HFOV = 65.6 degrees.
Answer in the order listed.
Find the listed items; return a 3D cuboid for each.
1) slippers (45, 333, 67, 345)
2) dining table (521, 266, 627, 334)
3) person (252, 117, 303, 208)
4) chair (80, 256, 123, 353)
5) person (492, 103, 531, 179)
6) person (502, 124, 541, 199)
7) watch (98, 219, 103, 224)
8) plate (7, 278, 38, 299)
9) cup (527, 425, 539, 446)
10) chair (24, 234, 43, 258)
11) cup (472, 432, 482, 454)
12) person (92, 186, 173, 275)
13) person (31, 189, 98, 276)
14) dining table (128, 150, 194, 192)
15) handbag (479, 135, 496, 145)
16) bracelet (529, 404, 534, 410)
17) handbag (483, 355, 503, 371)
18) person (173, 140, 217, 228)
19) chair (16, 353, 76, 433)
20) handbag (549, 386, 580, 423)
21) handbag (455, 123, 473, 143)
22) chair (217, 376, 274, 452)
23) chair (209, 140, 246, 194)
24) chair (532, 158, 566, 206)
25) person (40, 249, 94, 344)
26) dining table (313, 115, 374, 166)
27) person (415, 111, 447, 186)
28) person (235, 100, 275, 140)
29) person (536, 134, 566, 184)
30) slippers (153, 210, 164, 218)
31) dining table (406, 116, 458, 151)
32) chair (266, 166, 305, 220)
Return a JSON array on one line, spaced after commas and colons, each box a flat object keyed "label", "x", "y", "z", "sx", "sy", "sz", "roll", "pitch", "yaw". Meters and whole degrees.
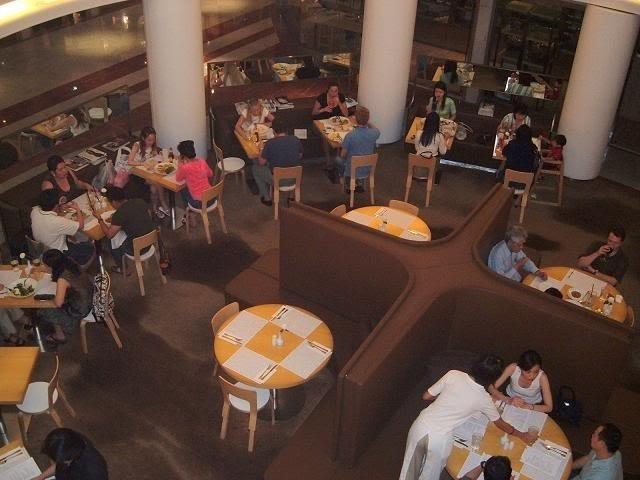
[{"label": "slippers", "x": -3.347, "y": 1.262, "z": 6.312, "sx": 0.219, "sy": 0.081, "sz": 0.120, "roll": 15, "pitch": 56, "yaw": 4}, {"label": "dining table", "x": 3.214, "y": 0.583, "z": 6.164, "sx": 1.132, "sy": 0.216, "sz": 0.734, "roll": 21, "pitch": 35, "yaw": 29}, {"label": "person", "x": -0.742, "y": -1.261, "z": 8.333, "sx": 0.831, "sy": 1.520, "sz": 0.630, "roll": 3, "pitch": 29, "yaw": 3}, {"label": "chair", "x": -2.800, "y": 0.868, "z": 6.347, "sx": 0.418, "sy": 1.031, "sz": 0.435, "roll": -19, "pitch": 66, "yaw": -22}, {"label": "person", "x": 3.670, "y": -1.881, "z": 9.430, "sx": 0.497, "sy": 1.437, "sz": 0.417, "roll": 6, "pitch": 40, "yaw": 13}, {"label": "person", "x": 3.384, "y": -1.383, "z": 8.379, "sx": 0.580, "sy": 0.991, "sz": 0.877, "roll": 13, "pitch": 31, "yaw": 20}, {"label": "watch", "x": -2.933, "y": -0.251, "z": 6.643, "sx": 0.064, "sy": 0.018, "sz": 0.066, "roll": 0, "pitch": 43, "yaw": -11}, {"label": "plate", "x": -3.486, "y": 0.538, "z": 5.821, "sx": 0.305, "sy": 0.111, "sz": 0.385, "roll": -12, "pitch": 33, "yaw": -23}, {"label": "cup", "x": 1.995, "y": 1.804, "z": 4.622, "sx": 0.105, "sy": 0.118, "sz": 0.123, "roll": 14, "pitch": 41, "yaw": 27}, {"label": "chair", "x": -3.752, "y": 0.085, "z": 6.517, "sx": 0.158, "sy": 0.219, "sz": 0.180, "roll": 35, "pitch": 41, "yaw": 17}, {"label": "cup", "x": 1.432, "y": 1.860, "z": 4.537, "sx": 0.086, "sy": 0.130, "sz": 0.082, "roll": 1, "pitch": 34, "yaw": -1}, {"label": "person", "x": -2.702, "y": -0.097, "z": 7.067, "sx": 0.701, "sy": 1.056, "sz": 0.539, "roll": 33, "pitch": 57, "yaw": 9}, {"label": "person", "x": -3.401, "y": -0.031, "z": 6.799, "sx": 0.681, "sy": 1.362, "sz": 0.577, "roll": -18, "pitch": 30, "yaw": -21}, {"label": "dining table", "x": -2.558, "y": -0.983, "z": 7.699, "sx": 0.753, "sy": 0.180, "sz": 0.518, "roll": 30, "pitch": 55, "yaw": 14}, {"label": "handbag", "x": 3.188, "y": -1.907, "z": 9.479, "sx": 0.225, "sy": 0.059, "sz": 0.250, "roll": 2, "pitch": 31, "yaw": 13}, {"label": "bracelet", "x": 2.084, "y": 1.634, "z": 4.871, "sx": 0.042, "sy": 0.010, "sz": 0.040, "roll": 2, "pitch": 86, "yaw": -8}, {"label": "handbag", "x": 1.628, "y": 1.138, "z": 4.673, "sx": 0.171, "sy": 0.230, "sz": 0.178, "roll": -1, "pitch": 69, "yaw": 8}, {"label": "person", "x": -1.914, "y": -0.950, "z": 7.641, "sx": 0.569, "sy": 1.083, "sz": 0.982, "roll": -18, "pitch": 35, "yaw": -32}, {"label": "chair", "x": -2.986, "y": 1.690, "z": 5.400, "sx": 0.468, "sy": 0.774, "sz": 0.469, "roll": 4, "pitch": 46, "yaw": -25}, {"label": "handbag", "x": 2.543, "y": 1.671, "z": 5.102, "sx": 0.287, "sy": 0.398, "sz": 0.152, "roll": 7, "pitch": 21, "yaw": 42}, {"label": "handbag", "x": 2.800, "y": -2.092, "z": 9.633, "sx": 0.290, "sy": 0.278, "sz": 0.489, "roll": 13, "pitch": 31, "yaw": 19}, {"label": "chair", "x": -0.783, "y": 1.879, "z": 5.322, "sx": 0.413, "sy": 0.772, "sz": 0.512, "roll": 20, "pitch": 50, "yaw": 10}, {"label": "chair", "x": -1.628, "y": -1.290, "z": 8.899, "sx": 0.591, "sy": 0.972, "sz": 0.617, "roll": -10, "pitch": 48, "yaw": -14}, {"label": "chair", "x": 4.156, "y": -1.036, "z": 9.024, "sx": 0.390, "sy": 0.739, "sz": 0.424, "roll": 22, "pitch": 74, "yaw": 14}, {"label": "person", "x": -3.084, "y": 0.711, "z": 5.987, "sx": 0.618, "sy": 1.112, "sz": 0.531, "roll": 4, "pitch": 19, "yaw": -8}, {"label": "dining table", "x": 0.413, "y": -2.033, "z": 9.289, "sx": 1.058, "sy": 0.792, "sz": 1.023, "roll": -15, "pitch": 54, "yaw": -12}, {"label": "person", "x": 1.897, "y": -1.658, "z": 8.509, "sx": 0.525, "sy": 0.985, "sz": 0.604, "roll": 7, "pitch": 29, "yaw": 9}, {"label": "person", "x": -1.174, "y": -2.106, "z": 9.046, "sx": 0.675, "sy": 0.490, "sz": 0.892, "roll": -16, "pitch": 63, "yaw": -19}, {"label": "person", "x": 4.175, "y": -1.471, "z": 8.976, "sx": 0.474, "sy": 0.847, "sz": 0.467, "roll": 9, "pitch": 62, "yaw": 12}, {"label": "slippers", "x": -2.654, "y": -0.426, "z": 8.183, "sx": 0.087, "sy": 0.057, "sz": 0.221, "roll": -41, "pitch": 69, "yaw": 5}, {"label": "dining table", "x": 2.124, "y": -2.073, "z": 9.337, "sx": 0.724, "sy": 0.194, "sz": 0.792, "roll": 12, "pitch": 49, "yaw": 15}, {"label": "chair", "x": -0.569, "y": -0.745, "z": 7.848, "sx": 0.581, "sy": 1.114, "sz": 0.746, "roll": -7, "pitch": 58, "yaw": -9}]
